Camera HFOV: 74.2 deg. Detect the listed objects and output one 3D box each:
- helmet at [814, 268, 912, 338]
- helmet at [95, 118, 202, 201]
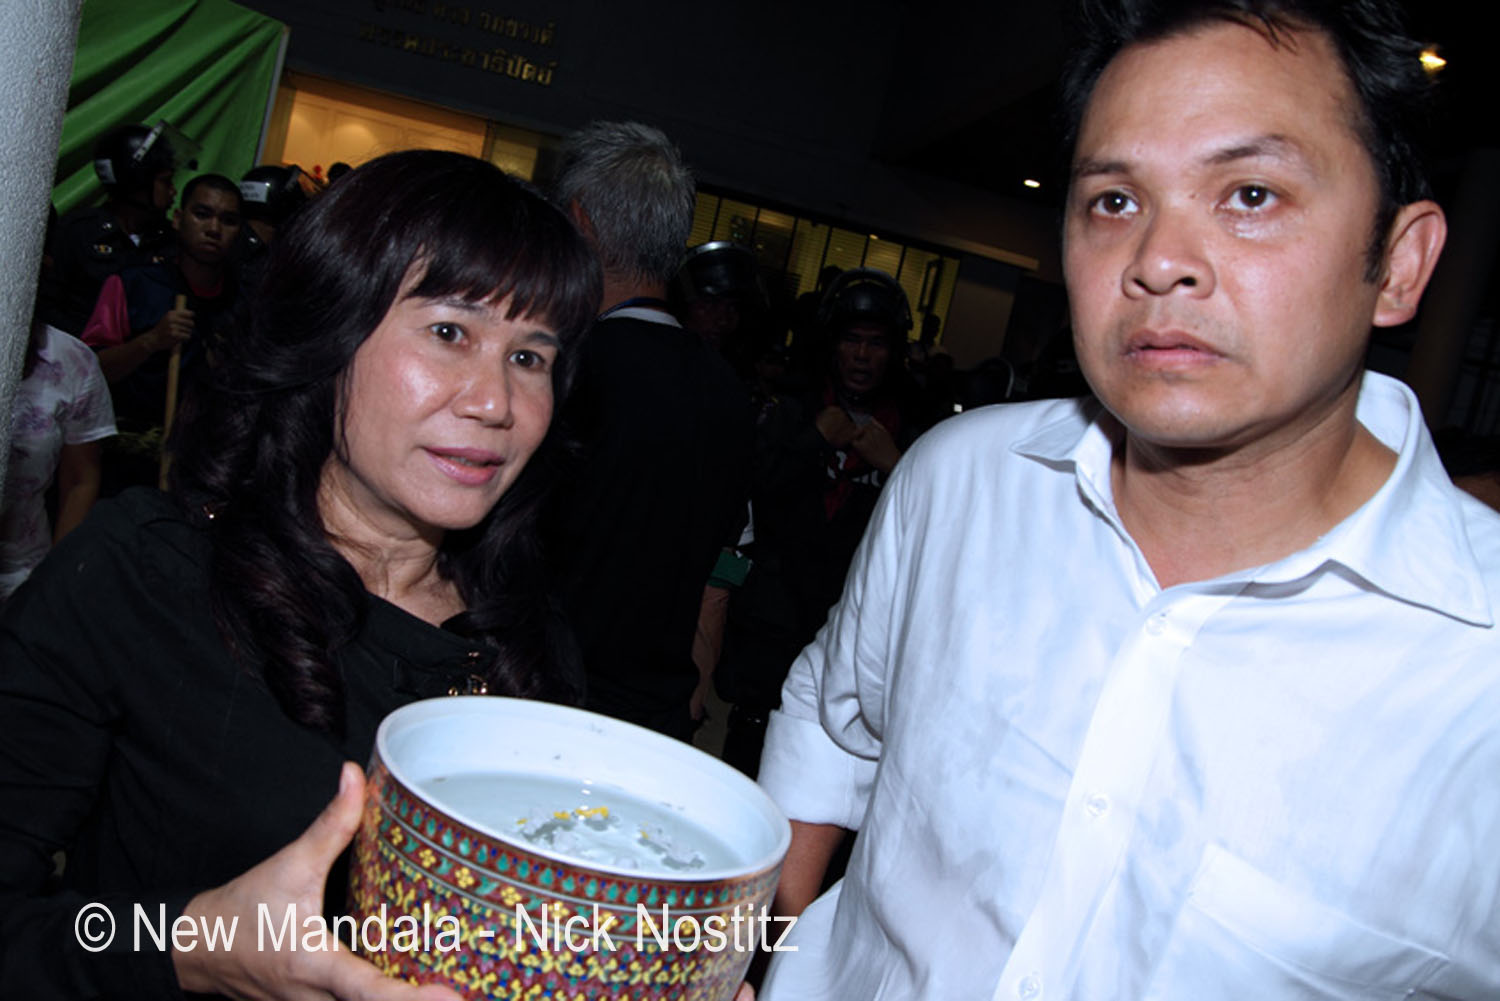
[{"bbox_3d":[0.567,-0.967,4.824,0.342,0.465,0.374,0,4,4],"label":"helmet"},{"bbox_3d":[-3.563,-1.875,5.613,0.372,0.383,0.468,20,21,41],"label":"helmet"}]
